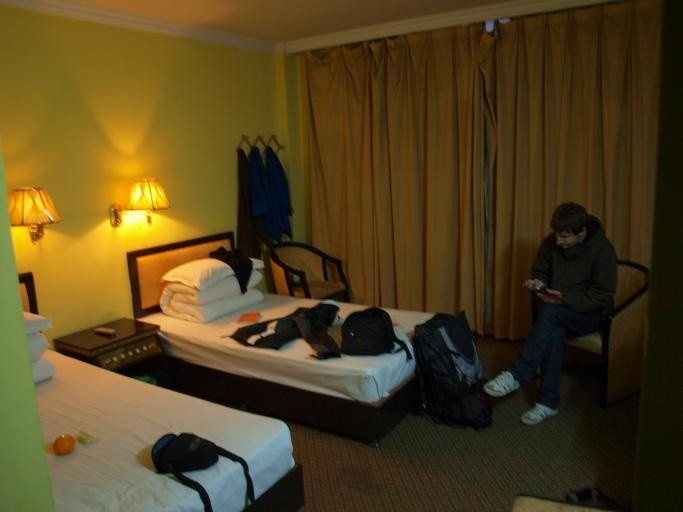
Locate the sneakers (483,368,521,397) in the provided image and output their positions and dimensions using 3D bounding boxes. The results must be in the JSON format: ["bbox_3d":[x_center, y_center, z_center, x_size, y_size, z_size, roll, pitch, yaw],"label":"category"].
[{"bbox_3d":[1.013,0.817,3.383,0.218,0.151,0.140,-3,10,-13],"label":"sneakers"}]

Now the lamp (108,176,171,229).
[{"bbox_3d":[-1.449,-0.391,3.894,0.371,0.346,0.309,3,6,29],"label":"lamp"}]

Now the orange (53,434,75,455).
[{"bbox_3d":[-1.176,0.795,2.259,0.062,0.050,0.081,1,11,-2],"label":"orange"}]

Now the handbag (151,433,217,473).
[{"bbox_3d":[-0.629,0.792,2.136,0.247,0.089,0.197,4,14,27],"label":"handbag"}]

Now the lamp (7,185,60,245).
[{"bbox_3d":[-1.881,-0.241,3.262,0.260,0.354,0.303,-12,15,-37],"label":"lamp"}]

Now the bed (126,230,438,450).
[{"bbox_3d":[-0.510,0.548,3.911,1.830,1.194,1.105,9,13,30],"label":"bed"}]

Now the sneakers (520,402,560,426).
[{"bbox_3d":[1.191,0.957,3.245,0.266,0.121,0.101,-10,7,-27],"label":"sneakers"}]
